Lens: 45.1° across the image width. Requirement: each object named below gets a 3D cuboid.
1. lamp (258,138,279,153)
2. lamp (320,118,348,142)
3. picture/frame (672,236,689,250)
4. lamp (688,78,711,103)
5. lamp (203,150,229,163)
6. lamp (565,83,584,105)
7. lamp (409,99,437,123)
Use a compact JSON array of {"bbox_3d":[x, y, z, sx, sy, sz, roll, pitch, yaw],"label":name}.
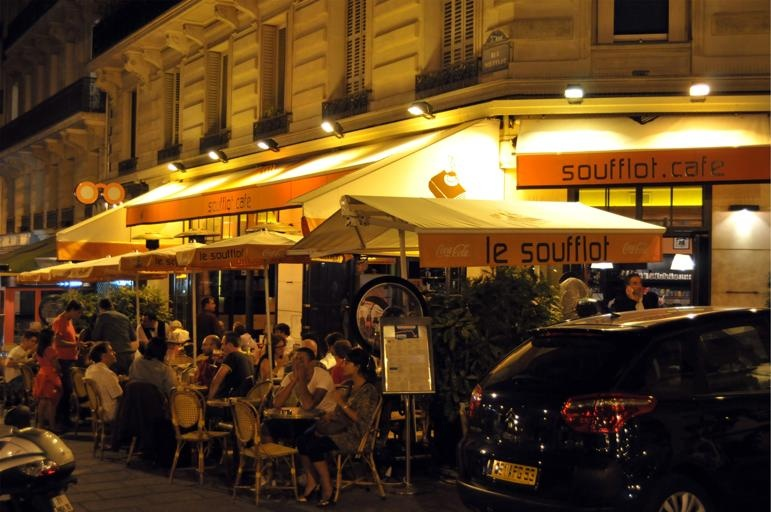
[{"bbox_3d":[-2.687,-2.538,21.331,0.313,0.184,0.450,-3,-5,45],"label":"lamp"},{"bbox_3d":[-1.083,-2.691,19.777,0.593,0.205,0.317,26,-9,-30],"label":"lamp"},{"bbox_3d":[5.210,-0.232,16.280,0.246,0.197,0.032,1,5,18],"label":"picture/frame"},{"bbox_3d":[5.381,-2.804,15.822,0.489,0.285,0.535,5,-6,38],"label":"lamp"},{"bbox_3d":[-4.117,-2.483,23.153,0.341,0.174,0.478,-1,-6,32],"label":"lamp"},{"bbox_3d":[3.273,-2.826,16.125,0.495,0.360,0.261,0,11,3],"label":"lamp"},{"bbox_3d":[0.727,-2.786,17.891,0.317,0.166,0.444,-8,-22,35],"label":"lamp"}]
